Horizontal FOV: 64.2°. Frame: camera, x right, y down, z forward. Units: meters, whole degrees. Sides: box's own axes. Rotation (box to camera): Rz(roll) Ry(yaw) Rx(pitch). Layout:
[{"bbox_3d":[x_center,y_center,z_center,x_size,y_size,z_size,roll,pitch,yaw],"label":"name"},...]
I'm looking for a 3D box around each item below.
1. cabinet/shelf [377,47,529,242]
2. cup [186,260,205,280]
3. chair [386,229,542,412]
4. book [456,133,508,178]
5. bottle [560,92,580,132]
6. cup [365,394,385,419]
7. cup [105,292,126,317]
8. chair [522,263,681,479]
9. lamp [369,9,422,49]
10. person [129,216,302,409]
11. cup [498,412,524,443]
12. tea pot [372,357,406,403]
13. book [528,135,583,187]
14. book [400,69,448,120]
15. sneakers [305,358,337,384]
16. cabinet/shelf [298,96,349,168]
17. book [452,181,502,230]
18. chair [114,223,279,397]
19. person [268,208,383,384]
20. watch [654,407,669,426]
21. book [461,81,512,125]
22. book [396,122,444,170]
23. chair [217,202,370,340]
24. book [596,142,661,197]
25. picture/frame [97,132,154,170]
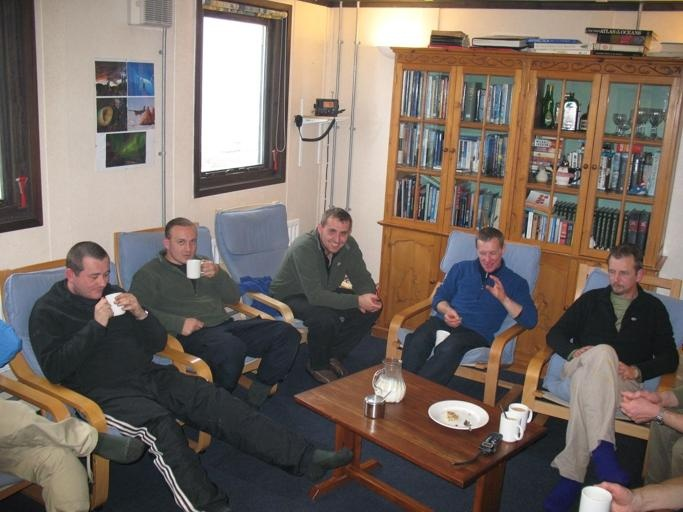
[{"bbox_3d":[0.970,-0.920,4.507,1.415,1.925,0.557,7,10,22],"label":"cabinet/shelf"},{"bbox_3d":[-0.952,0.087,3.556,0.131,0.119,0.081,1,0,-34],"label":"cup"},{"bbox_3d":[0.767,0.399,3.601,0.777,0.917,1.383,17,20,28],"label":"chair"},{"bbox_3d":[1.173,-0.840,4.496,0.326,0.330,0.136,10,9,25],"label":"book"},{"bbox_3d":[1.785,-1.122,4.274,0.141,0.328,0.086,7,-2,14],"label":"bottle"},{"bbox_3d":[0.167,0.748,2.714,0.097,0.075,0.098,0,0,0],"label":"cup"},{"bbox_3d":[-1.205,0.262,2.945,0.085,0.121,0.122,-16,-1,-45],"label":"cup"},{"bbox_3d":[1.746,0.604,3.577,0.900,0.967,1.345,9,19,35],"label":"chair"},{"bbox_3d":[0.517,-2.150,5.136,0.641,0.345,0.095,10,15,35],"label":"lamp"},{"bbox_3d":[-0.839,0.387,3.621,0.968,1.242,0.778,3,5,24],"label":"person"},{"bbox_3d":[0.802,0.824,2.642,0.087,0.109,0.139,-2,16,-9],"label":"cup"},{"bbox_3d":[0.239,0.658,2.858,0.213,0.214,0.149,-9,13,-43],"label":"tea pot"},{"bbox_3d":[1.712,-0.760,4.324,0.366,0.353,0.122,8,7,19],"label":"book"},{"bbox_3d":[0.699,-1.373,4.574,0.368,0.349,0.204,7,9,28],"label":"book"},{"bbox_3d":[-0.138,0.840,3.942,0.126,0.062,0.171,7,35,-19],"label":"sneakers"},{"bbox_3d":[-0.242,-1.331,5.446,0.476,0.437,0.384,0,12,-3],"label":"cabinet/shelf"},{"bbox_3d":[1.186,-0.412,4.724,0.336,0.508,0.519,4,6,23],"label":"book"},{"bbox_3d":[-0.873,0.271,4.001,1.222,1.415,0.889,17,21,40],"label":"chair"},{"bbox_3d":[-0.150,0.275,4.188,0.960,1.291,0.694,11,14,35],"label":"person"},{"bbox_3d":[1.638,0.823,2.781,0.050,0.080,0.051,-9,16,-38],"label":"watch"},{"bbox_3d":[1.183,-1.186,4.569,0.441,0.453,0.335,7,9,29],"label":"book"},{"bbox_3d":[0.682,-0.886,4.841,0.492,0.495,0.369,5,5,30],"label":"book"},{"bbox_3d":[-0.533,0.037,4.640,0.982,1.153,0.789,20,23,41],"label":"chair"},{"bbox_3d":[2.158,-0.657,4.111,0.388,0.389,0.064,7,14,25],"label":"book"},{"bbox_3d":[-1.538,-0.748,3.873,0.449,0.271,0.008,1,4,12],"label":"picture/frame"}]
